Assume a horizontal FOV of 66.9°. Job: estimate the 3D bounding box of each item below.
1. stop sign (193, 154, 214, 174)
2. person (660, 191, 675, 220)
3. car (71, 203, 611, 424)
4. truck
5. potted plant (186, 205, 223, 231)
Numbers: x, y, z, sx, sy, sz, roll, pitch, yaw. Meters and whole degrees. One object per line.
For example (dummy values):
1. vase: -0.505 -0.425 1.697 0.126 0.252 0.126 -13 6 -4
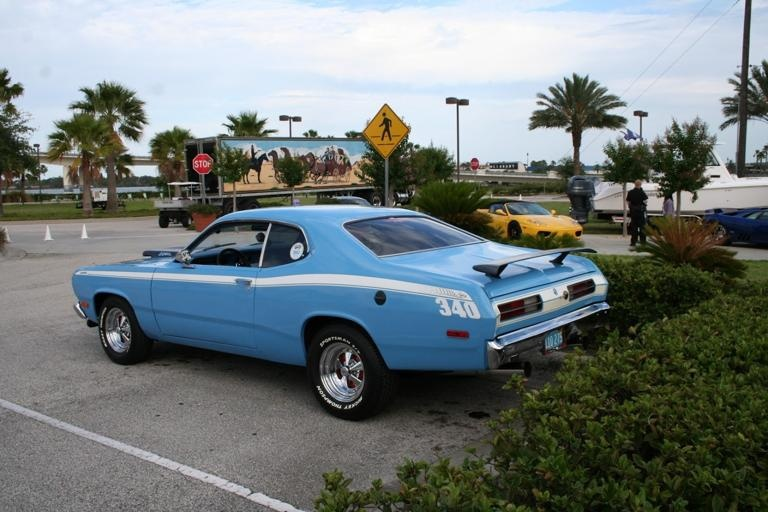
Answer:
1. stop sign: -8.445 -4.328 27.198 0.643 0.843 0.988 -7 12 -31
2. person: 10.206 -1.881 20.747 0.392 0.822 1.654 4 11 25
3. car: -0.917 0.375 7.284 6.813 2.080 2.312 5 12 29
4. truck: -3.793 -4.556 34.739 14.211 4.456 3.361 5 3 30
5. potted plant: -8.560 -1.957 27.658 1.437 1.524 1.474 0 2 0
